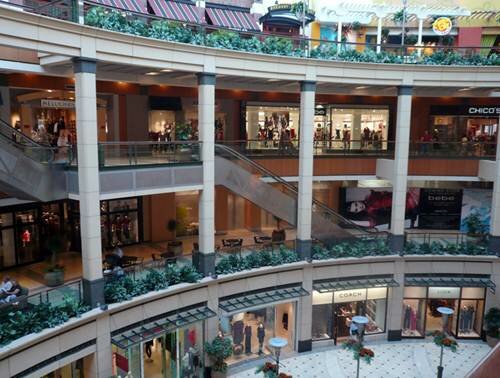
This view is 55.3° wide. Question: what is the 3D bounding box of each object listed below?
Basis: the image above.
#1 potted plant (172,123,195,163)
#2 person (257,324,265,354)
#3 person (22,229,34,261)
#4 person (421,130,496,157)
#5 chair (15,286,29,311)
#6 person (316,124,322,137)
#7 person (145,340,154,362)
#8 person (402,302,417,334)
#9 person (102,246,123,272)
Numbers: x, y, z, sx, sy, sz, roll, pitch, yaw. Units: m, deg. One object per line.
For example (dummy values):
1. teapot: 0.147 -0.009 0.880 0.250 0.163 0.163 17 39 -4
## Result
1. potted plant: -2.993 -2.132 21.990 1.102 1.649 2.087 -4 7 -7
2. person: 0.545 7.682 24.534 0.432 1.670 0.109 -8 9 -35
3. person: -10.688 2.704 23.022 0.220 1.555 0.475 1 9 27
4. person: 11.847 -2.263 27.491 4.261 1.058 0.328 -2 8 3
5. chair: -8.516 4.143 17.876 0.463 0.460 1.135 -6 8 -25
6. person: 4.445 -3.798 31.228 0.287 0.928 0.368 1 -2 3
7. person: -4.489 7.281 21.373 0.386 0.949 0.200 -4 8 -13
8. person: 8.745 7.098 26.344 0.796 2.018 0.191 -4 8 -9
9. person: -6.053 3.195 21.109 0.807 0.771 1.790 -5 7 -17
